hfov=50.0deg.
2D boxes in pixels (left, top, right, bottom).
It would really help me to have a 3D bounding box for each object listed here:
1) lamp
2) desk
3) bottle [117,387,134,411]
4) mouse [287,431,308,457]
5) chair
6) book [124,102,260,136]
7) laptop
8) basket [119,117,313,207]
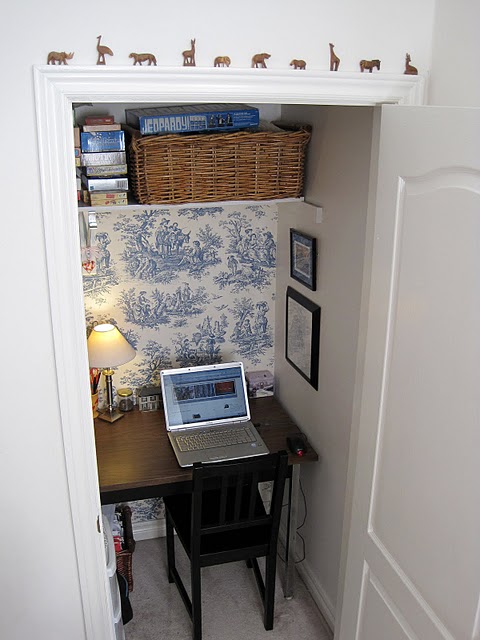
[{"bbox_3d":[-0.598,0.252,2.336,0.228,0.428,0.224,-5,13,-23],"label":"lamp"},{"bbox_3d":[-0.282,0.818,2.472,1.052,0.791,0.707,-5,27,-14],"label":"desk"},{"bbox_3d":[-0.551,0.390,2.481,0.095,0.104,0.096,2,18,-1],"label":"bottle"},{"bbox_3d":[0.238,0.528,2.146,0.075,0.054,0.131,-7,21,-15],"label":"mouse"},{"bbox_3d":[-0.073,0.862,2.189,0.502,0.910,0.503,-5,20,-10],"label":"chair"},{"bbox_3d":[-0.186,-0.757,1.942,0.480,0.109,0.333,-5,20,-11],"label":"book"},{"bbox_3d":[-0.128,0.444,2.220,0.384,0.265,0.410,-6,30,-17],"label":"laptop"},{"bbox_3d":[-0.095,-0.683,1.990,0.534,0.235,0.387,-8,28,-15],"label":"basket"}]
